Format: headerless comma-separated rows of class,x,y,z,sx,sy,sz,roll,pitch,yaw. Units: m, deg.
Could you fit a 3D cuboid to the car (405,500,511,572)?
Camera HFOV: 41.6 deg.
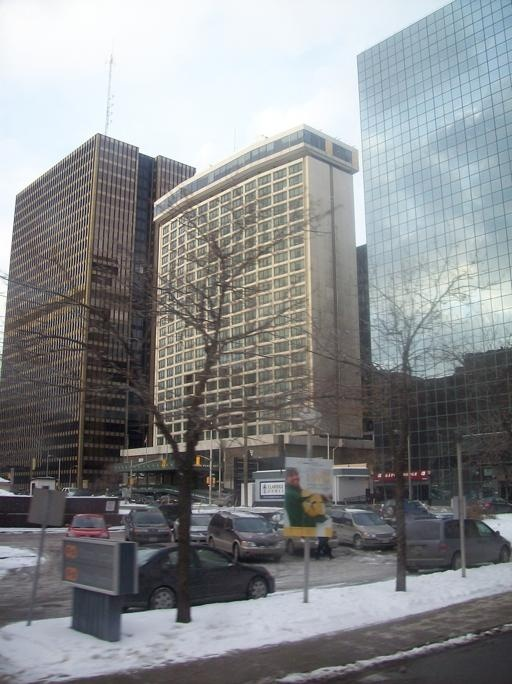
car,5.291,5.180,17.980,2.930,1.095,1.565,5,-13,-34

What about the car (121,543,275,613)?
car,-0.978,4.417,12.745,3.001,0.853,1.196,4,-13,-32
